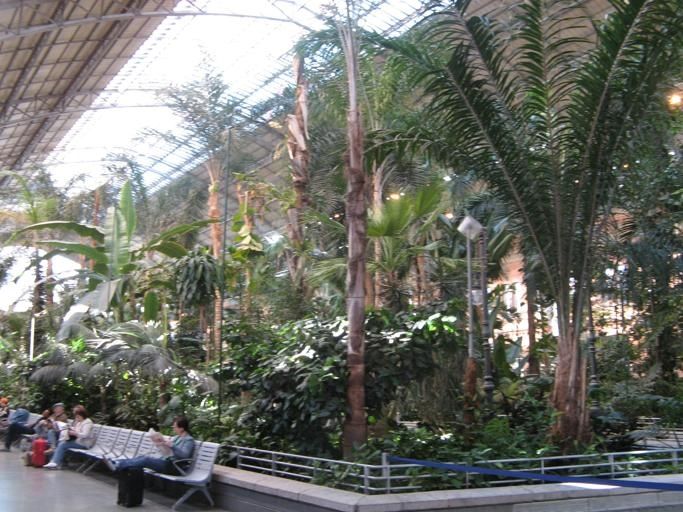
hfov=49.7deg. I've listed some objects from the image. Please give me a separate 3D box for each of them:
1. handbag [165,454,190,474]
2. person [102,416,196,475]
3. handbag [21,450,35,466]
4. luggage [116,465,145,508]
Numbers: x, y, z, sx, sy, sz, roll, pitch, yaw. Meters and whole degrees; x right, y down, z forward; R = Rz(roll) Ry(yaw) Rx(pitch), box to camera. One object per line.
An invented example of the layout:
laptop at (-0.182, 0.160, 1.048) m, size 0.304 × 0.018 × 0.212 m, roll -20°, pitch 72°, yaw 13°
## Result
handbag at (-2.688, 3.459, 12.211) m, size 0.542 × 0.230 × 0.322 m, roll 4°, pitch 2°, yaw -5°
person at (-3.029, 3.156, 12.277) m, size 1.126 × 0.920 × 0.442 m, roll 7°, pitch -22°, yaw -12°
handbag at (-6.181, 3.988, 14.603) m, size 0.341 × 0.338 × 0.455 m, roll 8°, pitch -21°, yaw -19°
luggage at (-3.439, 3.748, 11.943) m, size 0.457 × 0.642 × 0.332 m, roll 8°, pitch -22°, yaw -9°
